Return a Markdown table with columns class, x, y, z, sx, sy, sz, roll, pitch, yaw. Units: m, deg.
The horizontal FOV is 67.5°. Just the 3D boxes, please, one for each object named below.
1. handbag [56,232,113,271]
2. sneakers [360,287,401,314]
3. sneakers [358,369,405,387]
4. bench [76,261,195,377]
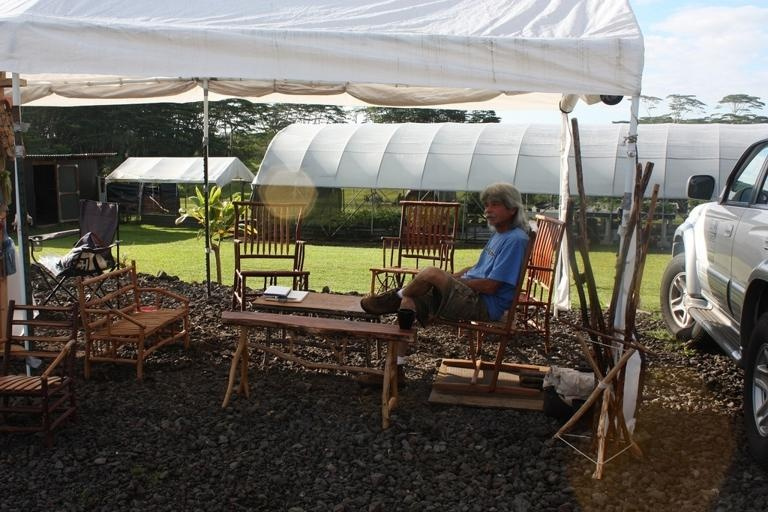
| class | x | y | z | sx | sy | sz | roll | pitch | yaw |
| --- | --- | --- | --- | --- | --- | --- | --- | --- | --- |
| handbag | -3.664 | -0.053 | 7.080 | 0.473 | 0.295 | 0.633 | 0 | 1 | -31 |
| sneakers | -0.012 | 0.402 | 5.256 | 0.447 | 0.185 | 0.162 | -3 | 31 | -6 |
| sneakers | -0.015 | 1.125 | 5.296 | 0.292 | 0.103 | 0.229 | 1 | 0 | 4 |
| bench | -2.526 | 0.629 | 5.913 | 0.643 | 0.859 | 1.558 | 3 | 3 | -6 |
